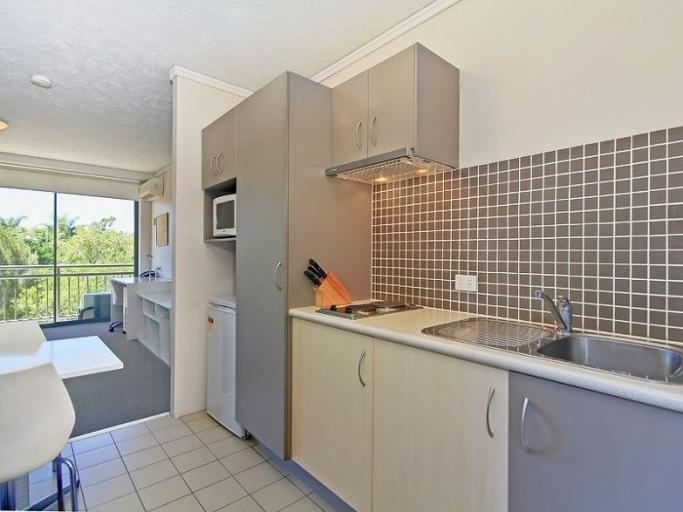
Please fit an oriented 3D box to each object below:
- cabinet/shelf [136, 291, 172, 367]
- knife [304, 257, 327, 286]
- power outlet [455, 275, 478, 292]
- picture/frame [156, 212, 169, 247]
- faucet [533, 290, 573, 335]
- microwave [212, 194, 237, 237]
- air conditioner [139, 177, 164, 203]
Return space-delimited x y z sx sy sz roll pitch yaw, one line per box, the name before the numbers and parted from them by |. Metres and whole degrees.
cabinet/shelf | -2.092 0.828 5.535 0.238 0.460 0.790 3 -4 -34
knife | -0.163 0.103 3.107 0.111 0.184 0.041 -14 8 -39
power outlet | 0.760 0.166 2.985 0.011 0.078 0.102 -2 2 -39
picture/frame | -2.519 -0.377 6.983 0.052 0.490 0.505 -2 0 -29
faucet | 1.104 0.283 2.585 0.200 0.218 0.260 -1 3 22
microwave | -0.880 -0.302 3.742 0.192 0.308 0.331 1 -3 -35
air conditioner | -2.670 -0.932 6.970 0.122 0.207 0.406 4 -7 -38
